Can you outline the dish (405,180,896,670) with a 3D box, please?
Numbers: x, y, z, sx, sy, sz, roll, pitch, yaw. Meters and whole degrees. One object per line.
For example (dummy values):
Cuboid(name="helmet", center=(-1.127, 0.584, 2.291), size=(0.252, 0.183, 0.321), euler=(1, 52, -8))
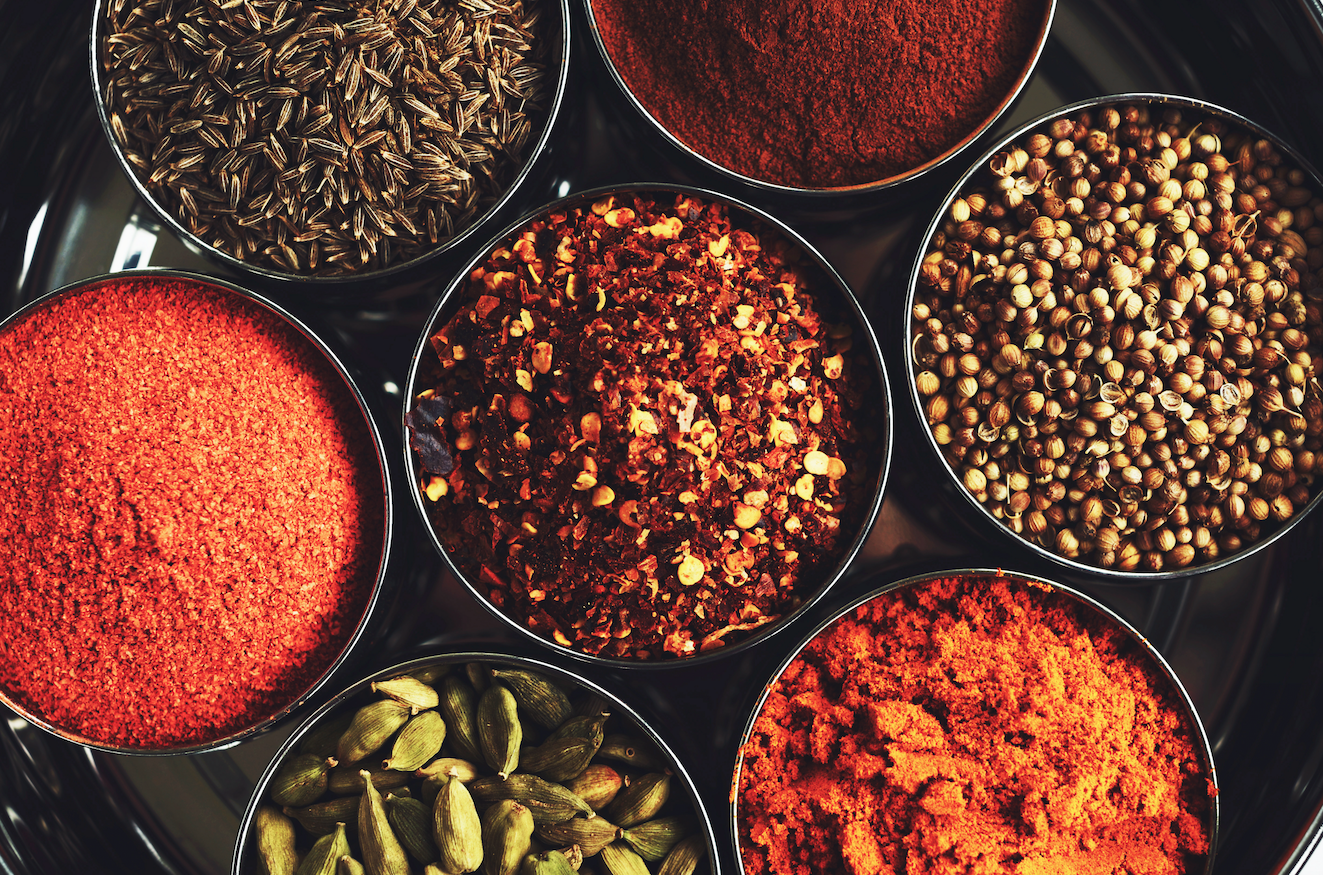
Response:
Cuboid(name="dish", center=(-0.030, -0.197, 3.036), size=(0.923, 1.071, 0.353), euler=(10, 49, -5))
